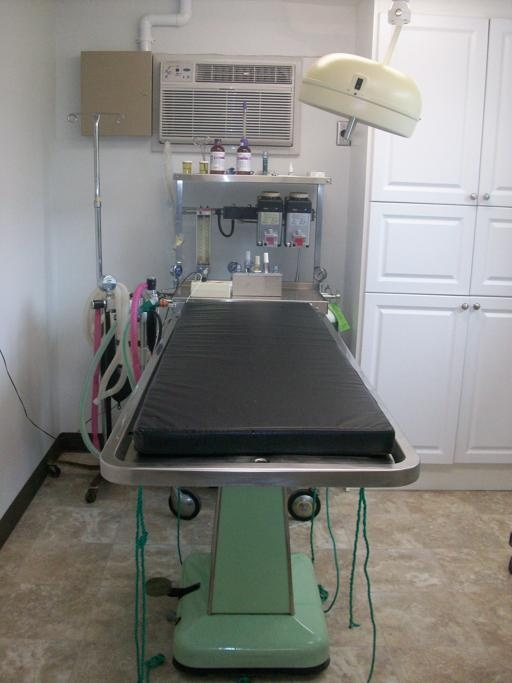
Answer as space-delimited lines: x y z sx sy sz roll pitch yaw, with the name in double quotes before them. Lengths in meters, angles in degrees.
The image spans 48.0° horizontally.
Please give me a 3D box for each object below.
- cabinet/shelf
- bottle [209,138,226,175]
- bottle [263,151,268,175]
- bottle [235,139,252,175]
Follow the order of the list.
"cabinet/shelf" 0.000 -0.559 3.016 0.879 0.587 0.649 0 10 -9
"bottle" -0.191 -0.901 2.822 0.065 0.176 0.131 0 10 -5
"bottle" 0.045 -0.885 2.876 0.020 0.107 0.029 0 10 -8
"bottle" -0.059 -0.897 2.814 0.069 0.175 0.085 6 10 24
